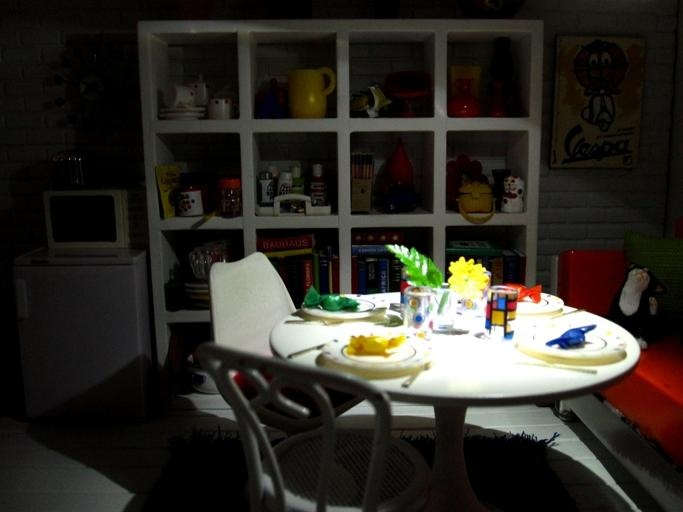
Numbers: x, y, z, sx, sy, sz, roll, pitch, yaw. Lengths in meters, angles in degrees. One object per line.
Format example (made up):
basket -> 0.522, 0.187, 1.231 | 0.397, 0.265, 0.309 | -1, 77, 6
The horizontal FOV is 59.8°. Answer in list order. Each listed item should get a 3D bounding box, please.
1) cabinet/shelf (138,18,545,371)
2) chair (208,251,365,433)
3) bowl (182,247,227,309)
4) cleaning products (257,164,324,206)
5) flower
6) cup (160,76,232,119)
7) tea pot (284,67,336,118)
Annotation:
cabinet/shelf -> -0.010, -0.378, 3.026 | 1.935, 1.867, 0.518 | -1, 10, 2
chair -> -0.096, 0.274, 2.630 | 0.688, 0.908, 0.633 | 1, 8, 34
bowl -> -0.760, 0.095, 3.282 | 0.252, 0.403, 0.404 | 0, 4, -23
cleaning products -> -0.275, -0.395, 3.385 | 0.323, 0.235, 0.243 | 0, 5, -3
flower -> 0.356, 0.071, 2.267 | 0.376, 0.183, 0.245 | 10, 14, 7
cup -> -0.769, -0.853, 3.191 | 0.218, 0.177, 0.360 | 7, 9, 38
tea pot -> -0.162, -0.875, 3.201 | 0.309, 0.290, 0.201 | 4, 8, 30
